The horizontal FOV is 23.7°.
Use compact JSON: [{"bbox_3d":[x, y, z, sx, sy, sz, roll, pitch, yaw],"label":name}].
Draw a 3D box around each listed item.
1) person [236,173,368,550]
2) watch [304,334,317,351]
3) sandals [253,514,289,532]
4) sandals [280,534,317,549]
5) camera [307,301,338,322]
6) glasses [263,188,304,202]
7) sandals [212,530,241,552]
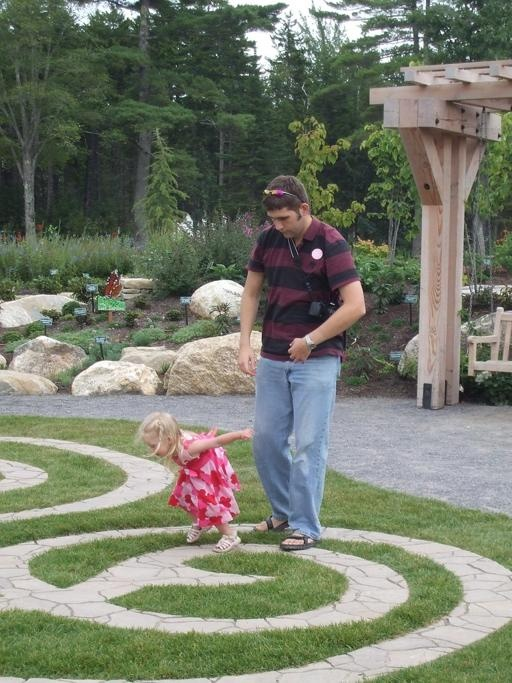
[{"bbox_3d":[0.223,0.210,7.267,0.532,1.966,0.816,-4,11,-25],"label":"person"},{"bbox_3d":[0.319,0.014,6.950,0.049,0.086,0.078,-39,-22,6],"label":"watch"},{"bbox_3d":[0.096,1.118,7.508,0.183,0.052,0.095,1,0,-3],"label":"sandals"},{"bbox_3d":[0.262,1.164,7.124,0.173,0.051,0.085,3,-6,-14],"label":"sandals"},{"bbox_3d":[0.398,-0.179,7.117,0.188,0.115,0.060,-4,11,-28],"label":"camera"},{"bbox_3d":[0.173,-0.830,6.985,0.236,0.093,0.179,1,8,0],"label":"glasses"},{"bbox_3d":[-0.159,1.183,7.162,0.066,0.063,0.173,-5,-4,24],"label":"sandals"}]
